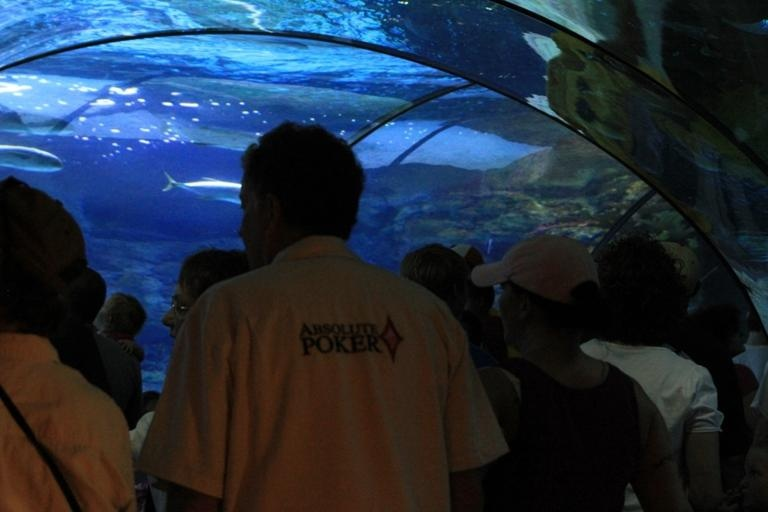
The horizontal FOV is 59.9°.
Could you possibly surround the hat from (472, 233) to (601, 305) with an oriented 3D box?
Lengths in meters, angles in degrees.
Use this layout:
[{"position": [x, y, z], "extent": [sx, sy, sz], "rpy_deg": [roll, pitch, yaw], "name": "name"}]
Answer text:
[{"position": [0.988, 0.048, 4.063], "extent": [0.838, 0.343, 0.589], "rpy_deg": [7, 9, 40], "name": "hat"}]
